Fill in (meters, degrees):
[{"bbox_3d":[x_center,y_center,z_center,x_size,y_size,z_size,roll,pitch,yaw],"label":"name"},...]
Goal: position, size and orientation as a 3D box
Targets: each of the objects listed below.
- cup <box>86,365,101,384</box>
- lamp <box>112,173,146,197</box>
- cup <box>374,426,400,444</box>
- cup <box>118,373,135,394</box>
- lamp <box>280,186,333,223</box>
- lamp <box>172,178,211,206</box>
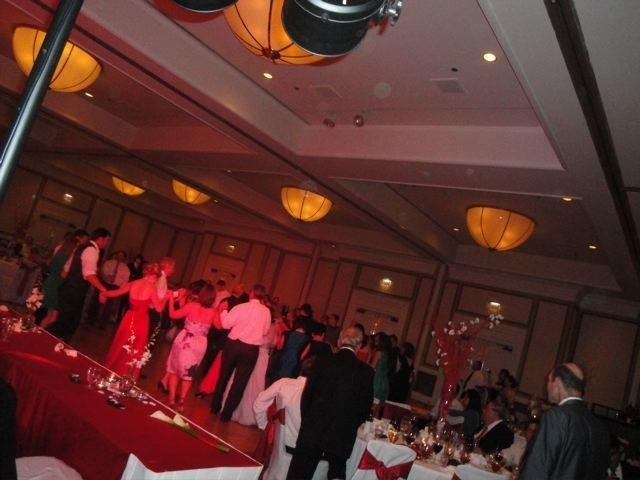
[{"bbox_3d":[-1.673,0.978,3.185,0.088,0.160,0.095,2,1,0],"label":"cup"},{"bbox_3d":[-5.950,-1.634,13.540,0.750,0.336,0.782,20,-5,37],"label":"lamp"},{"bbox_3d":[0.691,1.979,4.392,0.206,0.179,0.221,4,-18,1],"label":"cup"},{"bbox_3d":[-1.428,1.047,3.178,0.082,0.087,0.102,15,-54,13],"label":"cup"},{"bbox_3d":[-0.245,-0.754,9.657,0.783,0.575,0.822,15,-10,37],"label":"lamp"},{"bbox_3d":[-3.561,-1.290,11.810,0.722,0.503,0.766,25,-7,1],"label":"lamp"}]
